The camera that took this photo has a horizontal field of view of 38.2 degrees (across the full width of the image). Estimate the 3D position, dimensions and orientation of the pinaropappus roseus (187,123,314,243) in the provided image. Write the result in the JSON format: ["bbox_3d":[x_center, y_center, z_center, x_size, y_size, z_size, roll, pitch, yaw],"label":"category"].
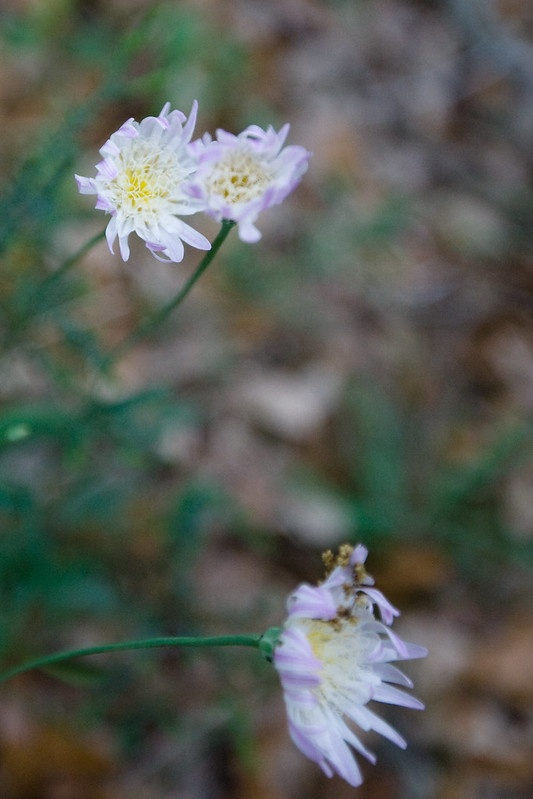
[{"bbox_3d":[-0.008,-0.113,0.463,0.078,0.056,0.070,-6,82,2],"label":"pinaropappus roseus"}]

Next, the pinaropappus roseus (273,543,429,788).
[{"bbox_3d":[0.043,0.149,0.430,0.065,0.131,0.123,4,105,17],"label":"pinaropappus roseus"}]
